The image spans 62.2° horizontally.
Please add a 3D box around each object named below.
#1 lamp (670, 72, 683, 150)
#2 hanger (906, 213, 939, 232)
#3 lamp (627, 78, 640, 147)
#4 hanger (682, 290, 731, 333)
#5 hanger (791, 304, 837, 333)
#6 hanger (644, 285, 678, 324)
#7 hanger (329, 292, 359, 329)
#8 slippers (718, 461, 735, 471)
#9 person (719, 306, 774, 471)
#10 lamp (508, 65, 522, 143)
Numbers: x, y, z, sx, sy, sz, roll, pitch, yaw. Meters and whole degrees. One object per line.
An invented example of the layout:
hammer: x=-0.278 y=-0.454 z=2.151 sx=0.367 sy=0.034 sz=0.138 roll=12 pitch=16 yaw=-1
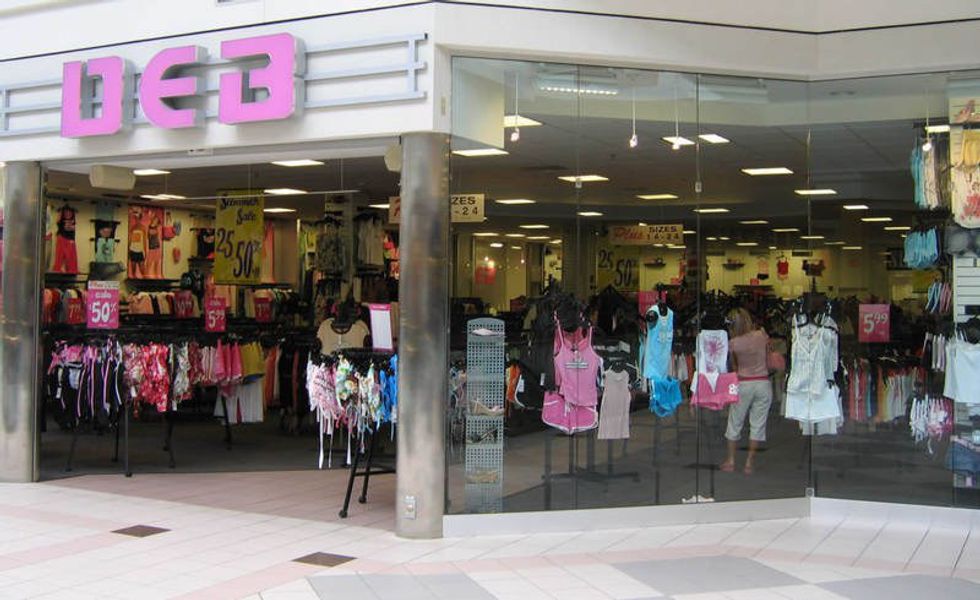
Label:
lamp: x=2.182 y=-2.129 z=9.430 sx=0.184 sy=0.740 sz=0.090 roll=0 pitch=6 yaw=0
hanger: x=5.200 y=-0.934 z=9.858 sx=0.394 sy=0.199 sz=0.374 roll=-2 pitch=-12 yaw=14
lamp: x=1.650 y=-2.101 z=9.329 sx=0.111 sy=0.679 sz=0.084 roll=-1 pitch=6 yaw=-17
hanger: x=2.503 y=0.129 z=9.479 sx=0.572 sy=0.450 sz=0.056 roll=-1 pitch=6 yaw=-10
hanger: x=3.915 y=0.241 z=9.777 sx=0.632 sy=0.250 sz=0.034 roll=-1 pitch=6 yaw=-12
hanger: x=2.050 y=0.086 z=9.420 sx=0.209 sy=0.325 sz=0.031 roll=18 pitch=-14 yaw=-14
hanger: x=-2.217 y=0.205 z=12.483 sx=0.413 sy=0.389 sz=1.239 roll=-1 pitch=7 yaw=-10
slippers: x=2.766 y=1.924 z=9.454 sx=0.194 sy=0.069 sz=0.067 roll=3 pitch=-1 yaw=7
person: x=3.044 y=1.042 z=9.547 sx=0.703 sy=1.883 sz=0.267 roll=-1 pitch=6 yaw=-13
lamp: x=0.283 y=-2.157 z=9.130 sx=0.099 sy=0.735 sz=0.063 roll=0 pitch=6 yaw=-7
